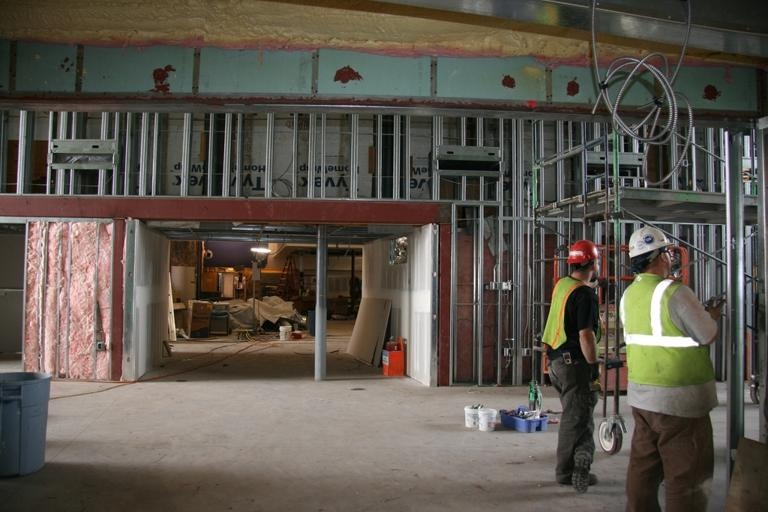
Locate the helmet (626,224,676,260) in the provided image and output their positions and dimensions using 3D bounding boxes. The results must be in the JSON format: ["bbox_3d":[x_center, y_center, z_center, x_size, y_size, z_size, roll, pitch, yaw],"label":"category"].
[{"bbox_3d":[2.777,-0.198,8.073,0.478,0.259,0.355,-13,2,18],"label":"helmet"}]

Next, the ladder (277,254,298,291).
[{"bbox_3d":[-3.638,0.693,29.760,0.761,1.509,1.679,2,-2,-7],"label":"ladder"}]

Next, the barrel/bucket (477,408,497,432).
[{"bbox_3d":[1.434,2.302,10.812,0.316,0.235,0.261,3,-3,0],"label":"barrel/bucket"}]

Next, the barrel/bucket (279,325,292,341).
[{"bbox_3d":[-2.718,2.094,20.955,0.360,0.315,0.344,0,-3,0],"label":"barrel/bucket"}]

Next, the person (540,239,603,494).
[{"bbox_3d":[2.184,1.253,9.004,0.634,2.905,0.504,2,-2,14],"label":"person"}]

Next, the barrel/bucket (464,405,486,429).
[{"bbox_3d":[1.314,2.306,11.043,0.348,0.291,0.294,0,-7,8],"label":"barrel/bucket"}]

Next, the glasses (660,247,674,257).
[{"bbox_3d":[3.127,-0.049,8.534,0.134,0.077,0.164,-1,-3,-2],"label":"glasses"}]
